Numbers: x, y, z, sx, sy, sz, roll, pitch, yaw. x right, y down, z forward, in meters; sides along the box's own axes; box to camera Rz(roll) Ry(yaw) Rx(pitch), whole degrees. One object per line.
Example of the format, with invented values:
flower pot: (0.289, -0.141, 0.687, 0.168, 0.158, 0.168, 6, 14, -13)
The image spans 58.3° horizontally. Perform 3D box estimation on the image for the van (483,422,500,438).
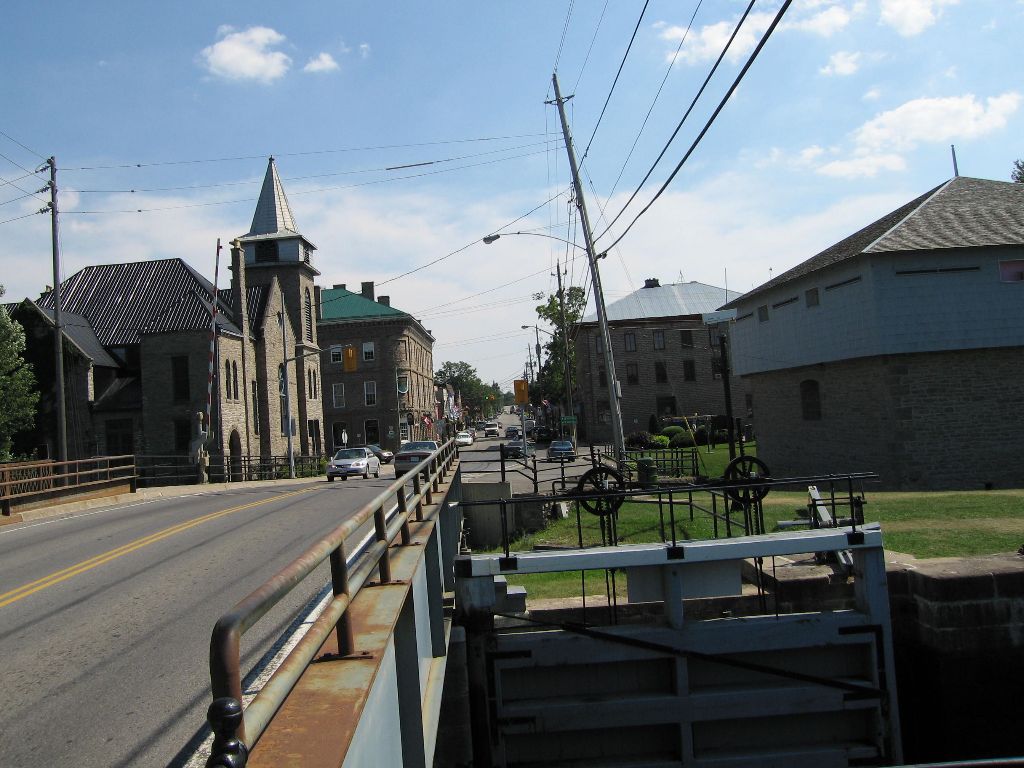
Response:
van: (-2.695, 6.225, 128.199, 2.378, 1.889, 4.782, -1, -3, 1)

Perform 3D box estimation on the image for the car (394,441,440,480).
car: (-4.348, 3.107, 41.334, 2.241, 1.697, 5.137, -1, 3, 0)
